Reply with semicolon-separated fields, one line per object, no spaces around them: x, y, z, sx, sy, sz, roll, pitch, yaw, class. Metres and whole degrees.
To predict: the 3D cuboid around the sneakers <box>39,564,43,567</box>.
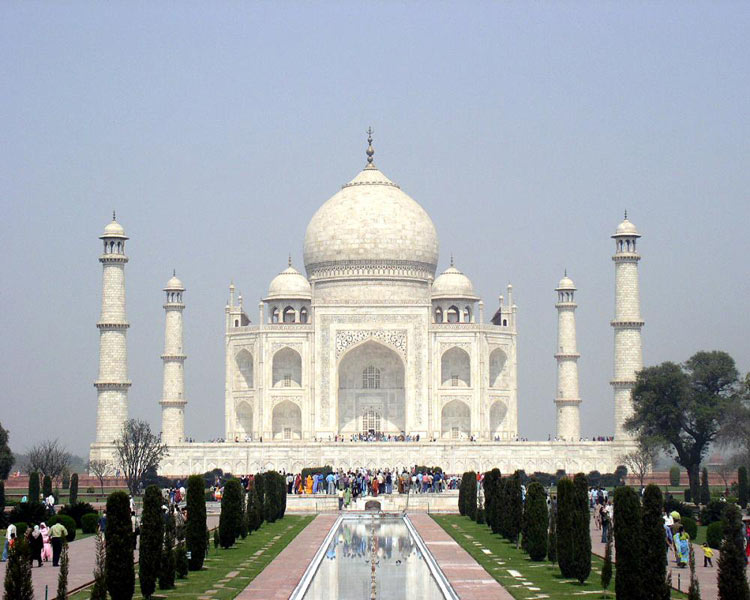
-7.706;6.090;37.737;0.115;0.100;0.441;0;-9;-11;sneakers
